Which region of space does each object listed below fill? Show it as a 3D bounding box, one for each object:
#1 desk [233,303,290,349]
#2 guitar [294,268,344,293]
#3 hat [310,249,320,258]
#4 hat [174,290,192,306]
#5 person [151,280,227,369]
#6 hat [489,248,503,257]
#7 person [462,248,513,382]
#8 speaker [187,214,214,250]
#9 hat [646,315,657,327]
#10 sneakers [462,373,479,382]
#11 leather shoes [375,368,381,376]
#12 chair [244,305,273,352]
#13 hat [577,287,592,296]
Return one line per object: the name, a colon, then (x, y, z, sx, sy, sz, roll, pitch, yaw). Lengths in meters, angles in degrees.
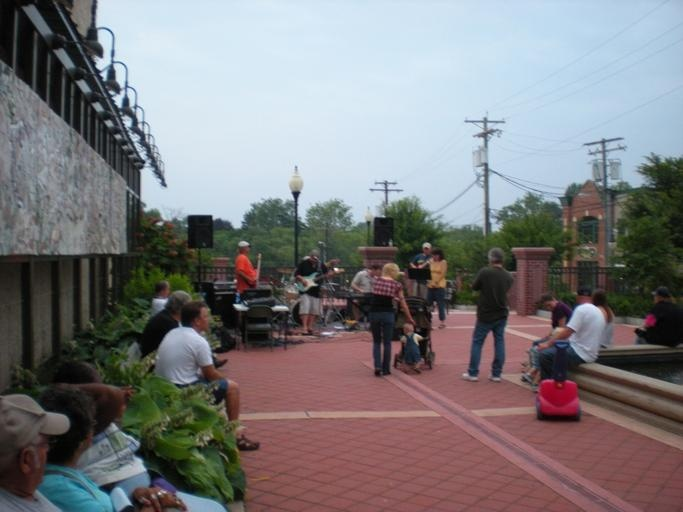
desk: (-1.743, 1.443, 13.504, 1.262, 0.771, 1.287, 5, -1, 37)
guitar: (-0.531, 0.584, 14.955, 1.162, 0.468, 0.459, -3, 5, -35)
hat: (-0.604, -0.053, 14.875, 0.173, 0.237, 0.230, 6, 10, 0)
hat: (-1.905, 0.491, 7.803, 0.234, 0.218, 0.182, -9, 0, -22)
person: (-1.809, 0.826, 7.705, 0.986, 1.017, 0.610, 1, 12, -34)
hat: (2.440, -0.058, 10.213, 0.141, 0.180, 0.172, 14, -32, -11)
person: (2.355, 0.921, 10.315, 0.673, 2.099, 1.145, 1, 4, 15)
speaker: (-3.542, -0.585, 16.230, 0.612, 0.835, 1.019, -1, 4, -14)
hat: (4.961, 1.034, 10.435, 0.166, 0.187, 0.167, 1, 5, -41)
sneakers: (2.005, 1.893, 10.124, 0.101, 0.113, 0.253, -2, 8, -42)
leather shoes: (0.589, 1.873, 10.439, 0.103, 0.121, 0.103, 1, 5, -2)
chair: (-1.715, 1.429, 13.349, 0.662, 0.961, 0.742, 3, 5, 2)
hat: (3.594, 0.527, 9.564, 0.128, 0.126, 0.191, 3, 1, 5)
